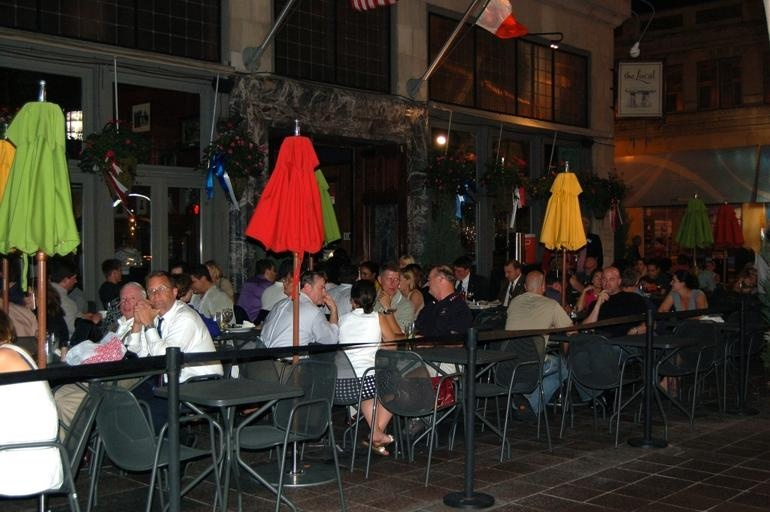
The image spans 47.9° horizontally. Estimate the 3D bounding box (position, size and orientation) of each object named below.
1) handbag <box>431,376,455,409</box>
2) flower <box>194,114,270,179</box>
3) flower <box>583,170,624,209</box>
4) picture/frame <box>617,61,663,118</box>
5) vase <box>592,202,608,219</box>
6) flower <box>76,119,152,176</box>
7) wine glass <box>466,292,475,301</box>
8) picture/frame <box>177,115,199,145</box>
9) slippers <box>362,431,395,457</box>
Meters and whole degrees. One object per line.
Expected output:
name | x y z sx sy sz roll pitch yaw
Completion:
handbag | 0.785 1.616 10.394 0.299 0.394 0.118 9 -16 -29
flower | -2.901 -2.104 15.908 0.901 0.899 0.902 -2 -6 3
flower | 5.894 -1.689 23.079 1.104 0.831 1.188 3 1 37
picture/frame | 7.909 -5.028 26.383 1.682 2.111 0.234 2 -5 0
vase | 5.865 -1.191 23.248 0.367 0.365 0.385 0 5 -5
flower | -4.504 -1.783 14.396 0.945 0.808 0.967 0 -8 12
wine glass | 1.608 0.738 15.882 0.135 0.251 0.138 -3 -7 25
picture/frame | -3.764 -2.394 16.365 0.567 0.760 0.076 0 11 -16
slippers | -0.049 2.292 10.659 0.560 0.228 0.179 24 -2 -42
